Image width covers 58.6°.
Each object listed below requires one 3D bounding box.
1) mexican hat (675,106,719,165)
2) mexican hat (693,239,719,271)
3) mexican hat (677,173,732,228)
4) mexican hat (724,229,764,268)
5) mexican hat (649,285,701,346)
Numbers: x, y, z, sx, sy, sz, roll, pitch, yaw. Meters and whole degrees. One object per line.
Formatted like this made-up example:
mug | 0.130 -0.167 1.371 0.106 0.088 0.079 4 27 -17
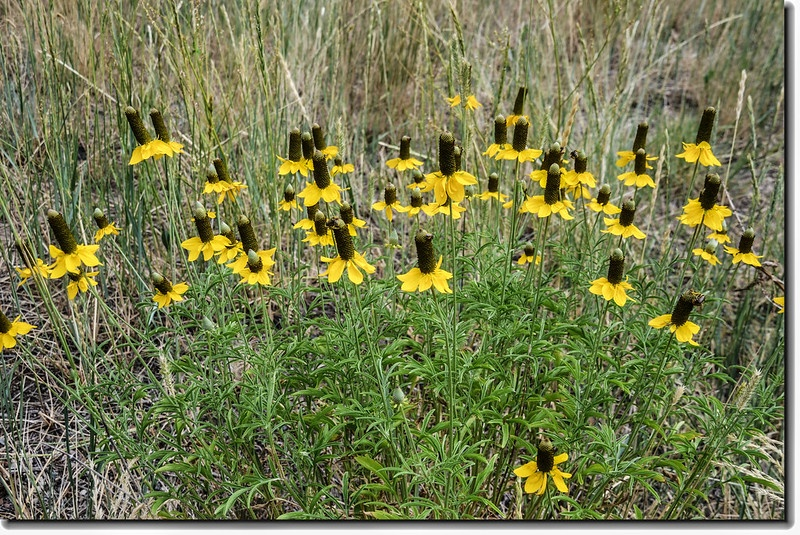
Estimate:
mexican hat | 1.898 -0.827 4.444 0.270 0.327 0.288 9 23 9
mexican hat | 2.112 -0.083 4.921 0.174 0.107 0.180 27 40 20
mexican hat | 1.864 -0.396 4.331 0.237 0.372 0.306 11 19 38
mexican hat | 2.462 -0.125 5.109 0.246 0.298 0.272 8 11 -4
mexican hat | 1.621 0.288 4.151 0.232 0.413 0.420 2 3 12
